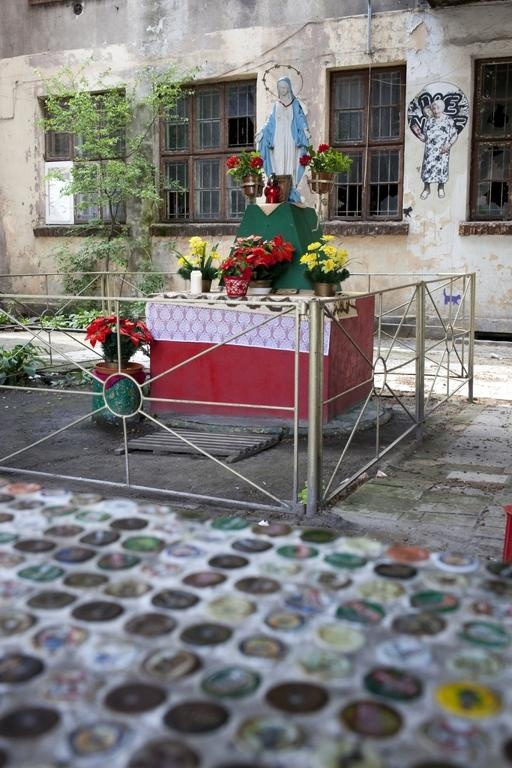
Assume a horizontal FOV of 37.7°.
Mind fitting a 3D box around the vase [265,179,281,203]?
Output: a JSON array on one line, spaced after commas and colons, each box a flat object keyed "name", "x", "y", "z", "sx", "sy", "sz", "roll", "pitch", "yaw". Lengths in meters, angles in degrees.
[{"name": "vase", "x": 0.159, "y": -1.818, "z": 7.115, "sx": 0.148, "sy": 0.253, "sz": 0.283, "roll": 0, "pitch": 8, "yaw": 0}]

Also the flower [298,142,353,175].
[{"name": "flower", "x": 0.657, "y": -2.151, "z": 7.181, "sx": 0.472, "sy": 0.330, "sz": 0.567, "roll": 0, "pitch": 8, "yaw": 3}]

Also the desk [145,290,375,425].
[{"name": "desk", "x": 0.040, "y": -0.205, "z": 6.167, "sx": 1.295, "sy": 0.777, "sz": 1.285, "roll": 2, "pitch": 7, "yaw": 21}]

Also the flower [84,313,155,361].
[{"name": "flower", "x": -1.082, "y": -0.379, "z": 5.979, "sx": 0.499, "sy": 0.324, "sz": 0.451, "roll": 0, "pitch": 5, "yaw": -4}]

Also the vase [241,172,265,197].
[{"name": "vase", "x": -0.027, "y": -1.891, "z": 7.251, "sx": 0.229, "sy": 0.181, "sz": 0.223, "roll": -3, "pitch": 1, "yaw": -2}]

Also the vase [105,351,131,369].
[{"name": "vase", "x": -1.113, "y": -0.165, "z": 6.000, "sx": 0.246, "sy": 0.107, "sz": 0.240, "roll": 0, "pitch": 0, "yaw": -3}]

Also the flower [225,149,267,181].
[{"name": "flower", "x": -0.097, "y": -2.100, "z": 7.287, "sx": 0.311, "sy": 0.324, "sz": 0.529, "roll": 0, "pitch": 8, "yaw": 2}]
